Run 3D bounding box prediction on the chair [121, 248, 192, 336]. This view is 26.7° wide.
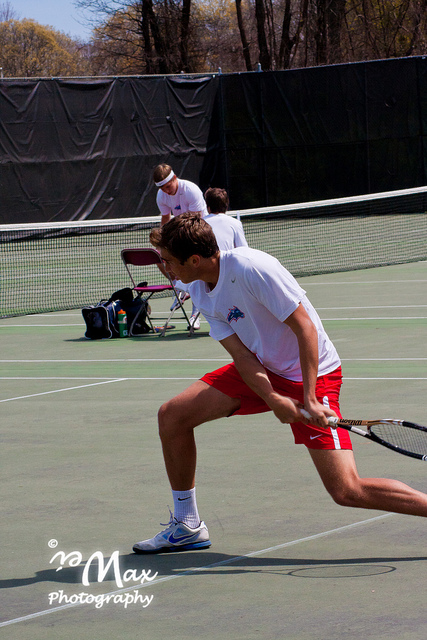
[{"bbox_3d":[-0.691,-0.357,11.240,0.724,1.011,0.913,4,8,39],"label":"chair"}]
